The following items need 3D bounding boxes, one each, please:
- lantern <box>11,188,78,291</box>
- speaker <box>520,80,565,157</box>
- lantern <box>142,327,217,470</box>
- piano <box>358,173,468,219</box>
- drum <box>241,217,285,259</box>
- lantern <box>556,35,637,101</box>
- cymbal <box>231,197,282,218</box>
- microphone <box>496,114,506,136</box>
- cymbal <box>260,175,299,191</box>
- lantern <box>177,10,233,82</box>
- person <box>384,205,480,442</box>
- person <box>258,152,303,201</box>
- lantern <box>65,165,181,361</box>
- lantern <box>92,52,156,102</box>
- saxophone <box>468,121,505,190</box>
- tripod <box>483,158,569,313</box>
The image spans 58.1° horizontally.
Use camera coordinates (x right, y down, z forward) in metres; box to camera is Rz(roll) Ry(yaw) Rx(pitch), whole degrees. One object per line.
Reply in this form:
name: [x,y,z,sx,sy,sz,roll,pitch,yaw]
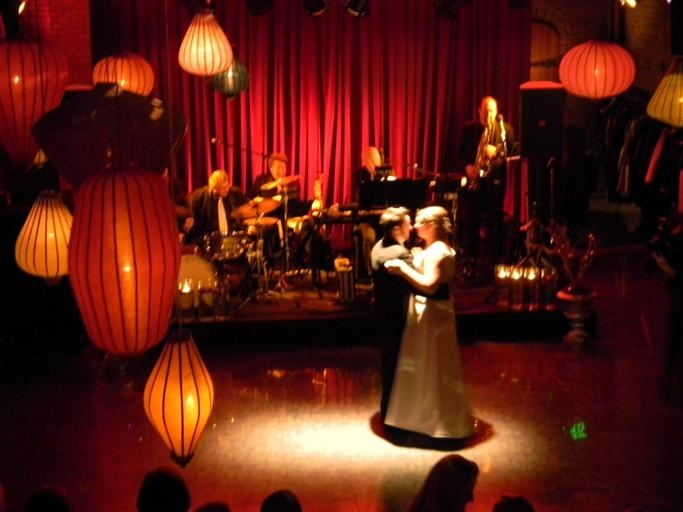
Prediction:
lantern: [-1.424,-0.091,2.997,0.256,0.405,0.273,0,9,-19]
speaker: [2.310,-1.419,7.151,0.506,0.964,0.535,4,-21,8]
lantern: [-0.718,0.640,2.740,0.282,0.578,0.302,0,2,27]
piano: [0.767,-0.742,7.032,1.059,0.461,0.629,-1,5,9]
drum: [-0.965,-0.254,7.810,0.432,0.577,0.479,2,9,13]
lantern: [3.132,-2.222,7.514,0.905,0.928,0.974,1,12,12]
cymbal: [-1.018,-0.606,7.345,0.307,0.087,0.343,-5,34,15]
microphone: [2.092,-1.697,7.995,0.108,0.291,0.531,2,14,16]
cymbal: [-0.808,-0.967,7.959,0.458,0.192,0.612,-3,14,-7]
lantern: [-1.419,-2.269,6.681,0.561,0.882,0.617,-2,12,-5]
person: [0.641,0.490,4.373,0.666,1.654,0.334,2,12,16]
person: [-0.832,-1.025,8.175,0.557,0.487,0.768,-5,15,-14]
lantern: [-0.762,0.027,2.171,0.374,0.643,0.231,-6,13,-21]
lantern: [-2.253,-1.854,6.381,0.585,0.621,0.599,17,26,40]
saxophone: [1.898,-1.306,7.952,0.266,0.804,0.485,3,-16,16]
tripod: [2.168,-0.029,6.895,0.737,1.471,0.975,-2,-18,31]
